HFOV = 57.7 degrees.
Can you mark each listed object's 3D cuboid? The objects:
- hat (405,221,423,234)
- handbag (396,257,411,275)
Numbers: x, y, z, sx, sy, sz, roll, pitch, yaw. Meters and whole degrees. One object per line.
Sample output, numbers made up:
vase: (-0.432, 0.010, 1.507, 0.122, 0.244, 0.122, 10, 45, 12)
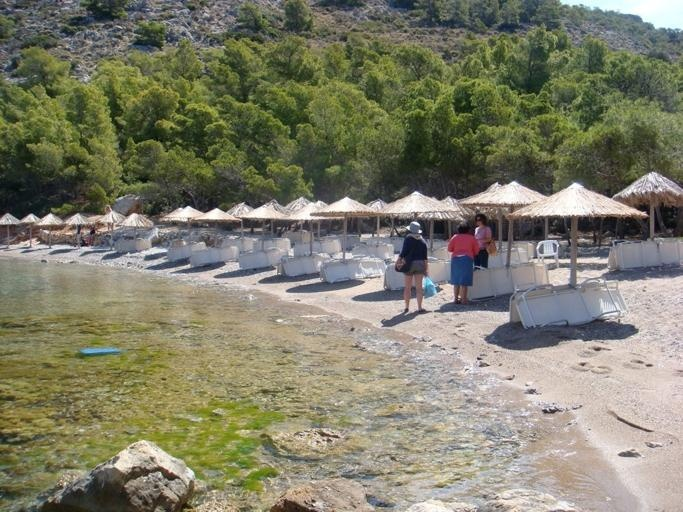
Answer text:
hat: (1.892, -0.711, 15.874, 0.282, 0.330, 0.440, -4, 8, 0)
handbag: (1.578, 0.230, 15.918, 0.447, 0.574, 0.327, 5, 22, 6)
